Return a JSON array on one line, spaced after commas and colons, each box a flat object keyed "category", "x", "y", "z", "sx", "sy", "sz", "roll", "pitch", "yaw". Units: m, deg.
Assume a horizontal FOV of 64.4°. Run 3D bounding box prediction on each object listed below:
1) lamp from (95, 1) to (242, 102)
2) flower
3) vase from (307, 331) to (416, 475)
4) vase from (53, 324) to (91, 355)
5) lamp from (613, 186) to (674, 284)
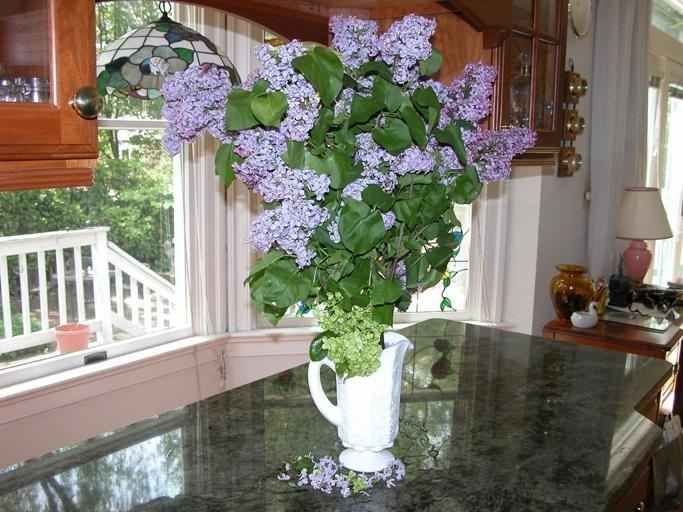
[{"category": "lamp", "x": -0.558, "y": -0.575, "z": 1.620, "sx": 0.383, "sy": 0.271, "sz": 0.400, "roll": -2, "pitch": 3, "yaw": -9}, {"category": "flower", "x": 0.002, "y": -0.211, "z": 1.485, "sx": 0.804, "sy": 1.007, "sz": 0.851, "roll": -11, "pitch": 47, "yaw": -25}, {"category": "vase", "x": 0.049, "y": 0.387, "z": 1.389, "sx": 0.301, "sy": 0.359, "sz": 0.196, "roll": -3, "pitch": 9, "yaw": -21}, {"category": "vase", "x": -1.390, "y": 0.426, "z": 2.795, "sx": 0.134, "sy": 0.112, "sz": 0.137, "roll": 0, "pitch": -1, "yaw": 1}, {"category": "lamp", "x": 2.038, "y": -0.130, "z": 3.674, "sx": 0.323, "sy": 0.661, "sz": 0.361, "roll": 8, "pitch": 14, "yaw": 29}]
